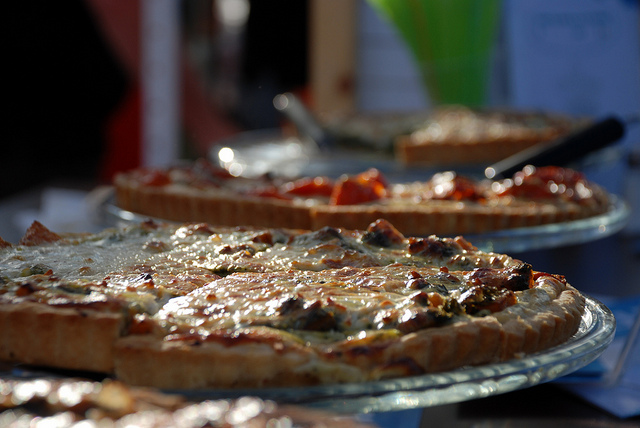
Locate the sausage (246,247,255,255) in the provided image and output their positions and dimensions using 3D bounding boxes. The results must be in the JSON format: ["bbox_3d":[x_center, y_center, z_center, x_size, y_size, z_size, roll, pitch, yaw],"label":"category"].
[{"bbox_3d":[-0.094,0.050,0.888,0.010,0.006,0.009,1,36,-37],"label":"sausage"}]

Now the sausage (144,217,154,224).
[{"bbox_3d":[-0.276,0.011,1.056,0.019,0.004,0.018,10,8,7],"label":"sausage"}]

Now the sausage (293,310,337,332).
[{"bbox_3d":[-0.004,0.112,0.689,0.034,0.010,0.023,2,11,15],"label":"sausage"}]

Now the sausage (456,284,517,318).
[{"bbox_3d":[0.193,0.098,0.780,0.077,0.027,0.099,-4,3,15],"label":"sausage"}]

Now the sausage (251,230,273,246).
[{"bbox_3d":[-0.081,0.034,0.917,0.023,0.007,0.022,-5,15,-16],"label":"sausage"}]

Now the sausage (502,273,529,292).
[{"bbox_3d":[0.236,0.083,0.795,0.020,0.008,0.025,-2,15,-5],"label":"sausage"}]

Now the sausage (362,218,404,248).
[{"bbox_3d":[0.096,0.032,0.949,0.044,0.013,0.044,-23,44,-27],"label":"sausage"}]

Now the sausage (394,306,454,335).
[{"bbox_3d":[0.106,0.110,0.698,0.042,0.012,0.031,-4,1,-28],"label":"sausage"}]

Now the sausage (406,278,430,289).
[{"bbox_3d":[0.111,0.081,0.761,0.016,0.004,0.014,-6,7,-38],"label":"sausage"}]
